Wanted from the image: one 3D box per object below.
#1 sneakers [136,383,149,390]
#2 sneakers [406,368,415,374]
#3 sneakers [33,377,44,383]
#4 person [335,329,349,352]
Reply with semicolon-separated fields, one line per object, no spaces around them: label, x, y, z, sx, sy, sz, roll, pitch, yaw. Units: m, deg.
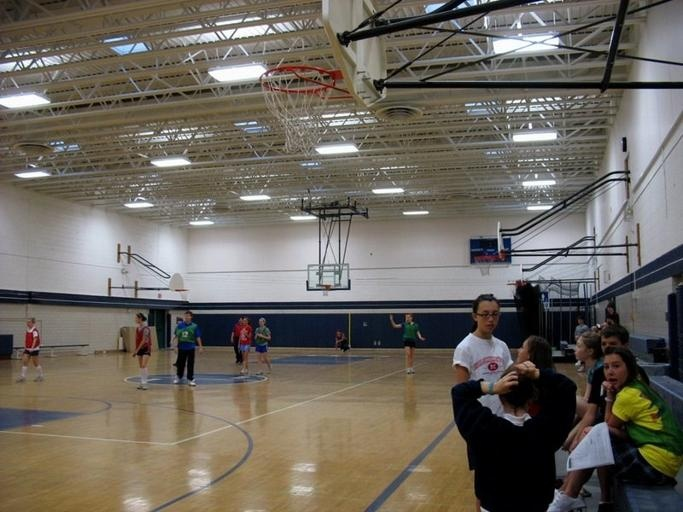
sneakers;-4.683;3.073;13.143;0.160;0.180;0.464;5;-6;-28
sneakers;1.988;3.340;16.138;0.184;0.193;0.496;0;1;11
sneakers;-7.994;3.261;14.705;0.314;0.133;0.172;-8;-9;30
person;0.035;4.459;29.459;0.719;1.075;1.416;-1;-7;0
